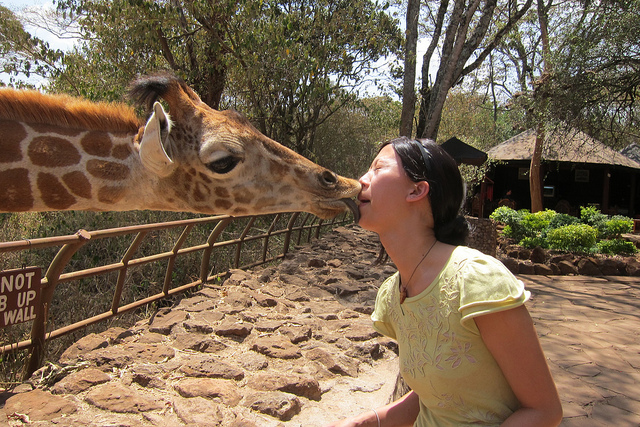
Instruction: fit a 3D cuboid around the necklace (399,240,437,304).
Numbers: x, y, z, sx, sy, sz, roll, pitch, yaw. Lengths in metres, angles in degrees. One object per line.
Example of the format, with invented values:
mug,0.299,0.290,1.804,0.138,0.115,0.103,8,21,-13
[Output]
necklace,0.564,0.327,2.188,0.122,0.423,0.034,35,6,7
